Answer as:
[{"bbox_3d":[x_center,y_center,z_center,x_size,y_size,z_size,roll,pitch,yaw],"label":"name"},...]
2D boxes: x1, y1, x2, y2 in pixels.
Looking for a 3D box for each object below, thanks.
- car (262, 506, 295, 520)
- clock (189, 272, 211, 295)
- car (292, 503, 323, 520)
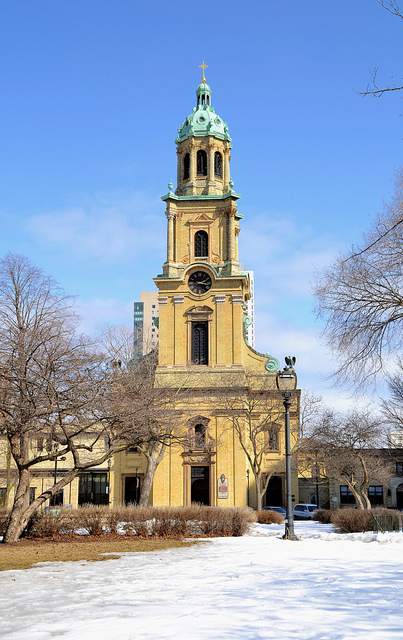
[{"bbox_3d":[4.565,11.108,53.188,0.835,0.721,2.008,5,-16,-30],"label":"car"},{"bbox_3d":[-0.047,-2.214,56.967,1.064,0.928,0.083,-43,-11,-6],"label":"clock"},{"bbox_3d":[6.163,11.524,55.008,1.125,0.945,1.748,10,-23,-36],"label":"car"}]
